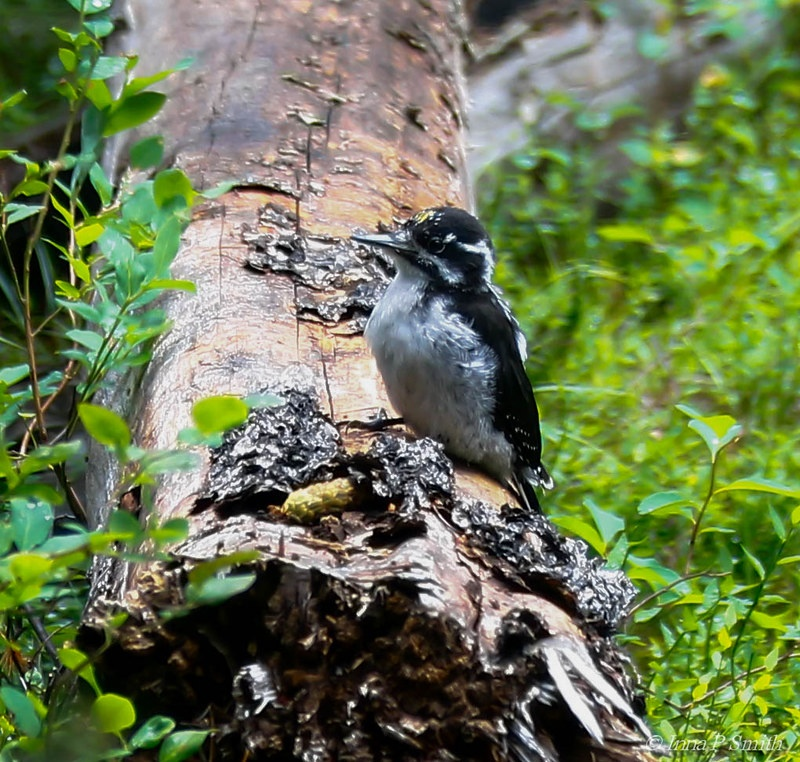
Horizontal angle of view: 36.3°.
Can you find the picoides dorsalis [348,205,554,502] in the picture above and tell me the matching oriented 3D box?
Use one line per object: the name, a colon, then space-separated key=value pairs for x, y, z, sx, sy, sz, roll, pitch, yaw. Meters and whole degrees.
picoides dorsalis: x=0.178 y=-0.100 z=4.395 sx=0.491 sy=0.993 sz=0.927 roll=2 pitch=-1 yaw=45
